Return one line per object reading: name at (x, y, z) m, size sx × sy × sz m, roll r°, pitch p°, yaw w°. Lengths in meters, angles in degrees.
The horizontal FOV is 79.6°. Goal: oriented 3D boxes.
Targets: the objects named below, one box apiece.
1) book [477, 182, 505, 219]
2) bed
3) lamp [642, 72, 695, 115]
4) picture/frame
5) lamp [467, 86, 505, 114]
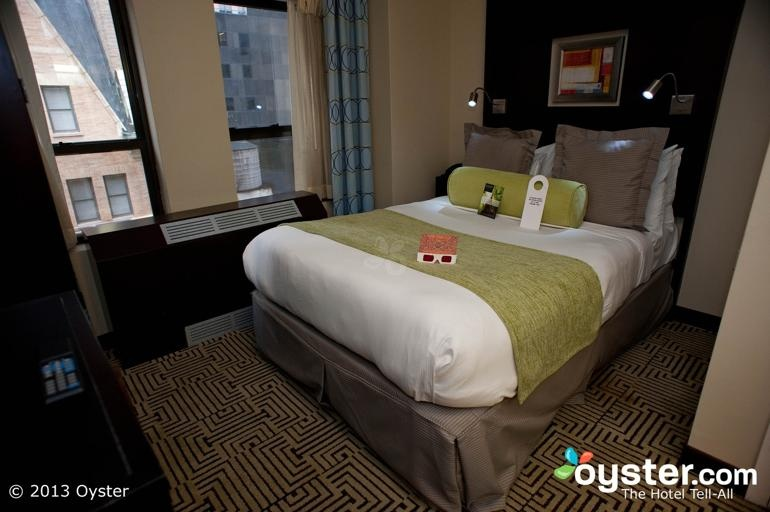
book at (0.785, -0.399, 3.399) m, size 0.202 × 0.314 × 0.040 m, roll 20°, pitch 13°, yaw 40°
bed at (-0.004, 0.484, 2.816) m, size 1.875 × 0.649 × 1.796 m, roll -23°, pitch 32°, yaw -37°
lamp at (2.021, -1.152, 3.319) m, size 0.321 × 0.281 × 0.198 m, roll 2°, pitch 16°, yaw 5°
picture/frame at (1.629, -1.494, 3.653) m, size 0.604 × 0.606 × 0.060 m, roll 13°, pitch 21°, yaw 40°
lamp at (0.845, -1.429, 4.207) m, size 0.367 × 0.246 × 0.288 m, roll -3°, pitch 15°, yaw -30°
